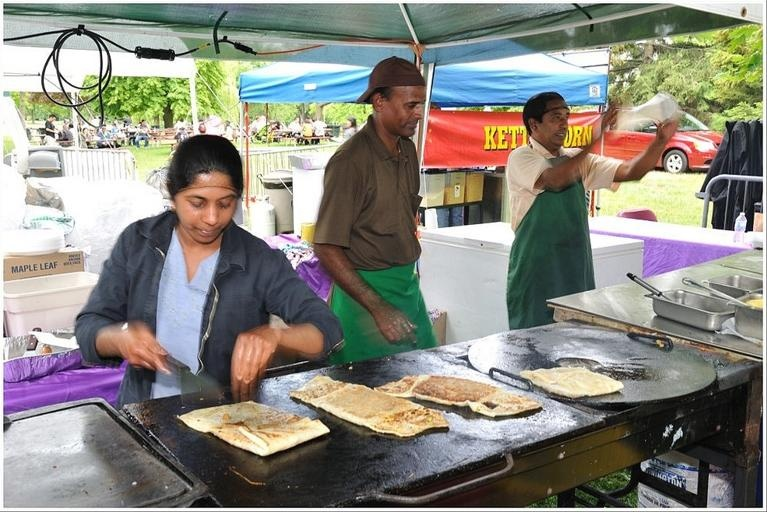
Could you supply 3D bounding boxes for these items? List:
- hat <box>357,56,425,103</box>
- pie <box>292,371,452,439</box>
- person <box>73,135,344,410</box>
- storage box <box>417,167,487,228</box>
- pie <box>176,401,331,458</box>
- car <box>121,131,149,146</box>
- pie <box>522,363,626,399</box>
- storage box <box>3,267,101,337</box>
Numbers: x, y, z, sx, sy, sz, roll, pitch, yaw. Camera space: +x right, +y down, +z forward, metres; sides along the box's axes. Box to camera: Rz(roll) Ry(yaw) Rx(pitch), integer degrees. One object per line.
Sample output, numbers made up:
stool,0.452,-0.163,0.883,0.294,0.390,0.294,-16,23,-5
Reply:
hat,0.051,-1.097,3.202,0.375,0.173,0.254,-2,17,-1
pie,-0.082,0.633,2.193,0.709,0.094,0.255,2,10,27
person,-0.828,0.113,2.369,1.168,1.302,0.594,-4,11,-5
storage box,1.074,-0.991,8.439,1.359,1.174,0.488,-10,18,-37
pie,-0.521,0.664,2.075,0.561,0.091,0.297,3,10,29
car,-14.095,-6.769,29.691,1.656,0.670,2.037,3,9,-21
pie,0.851,0.579,2.407,0.400,0.057,0.270,5,11,40
storage box,-2.542,0.359,3.917,0.543,0.331,0.284,-4,21,-29
